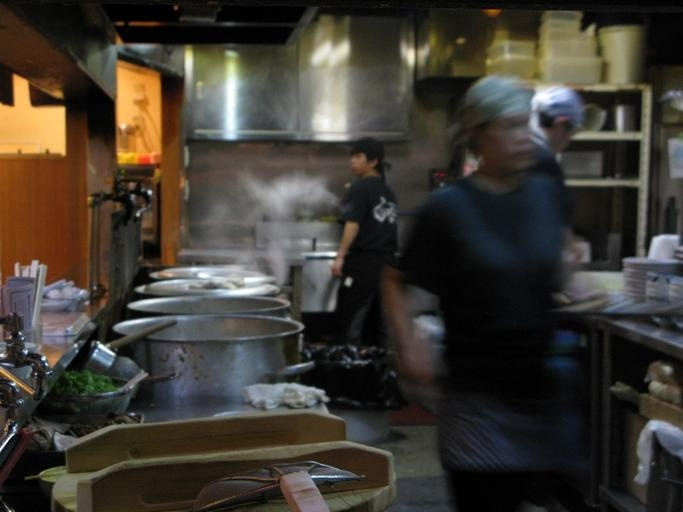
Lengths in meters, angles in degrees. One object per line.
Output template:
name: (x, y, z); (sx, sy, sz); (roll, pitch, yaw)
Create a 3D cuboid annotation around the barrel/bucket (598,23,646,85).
barrel/bucket: (1.205, -0.853, 2.914); (0.177, 0.248, 0.378); (0, 2, 24)

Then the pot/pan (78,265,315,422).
pot/pan: (-0.403, 0.323, 2.111); (0.570, 0.235, 0.512); (-1, 2, -20)

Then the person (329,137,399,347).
person: (0.138, 0.043, 4.428); (0.416, 1.126, 0.348); (-1, 2, -1)

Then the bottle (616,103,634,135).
bottle: (1.702, -0.826, 4.085); (0.114, 0.187, 0.140); (0, 2, 20)

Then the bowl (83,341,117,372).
bowl: (-0.723, 0.302, 2.017); (0.049, 0.051, 0.088); (21, -6, -4)
